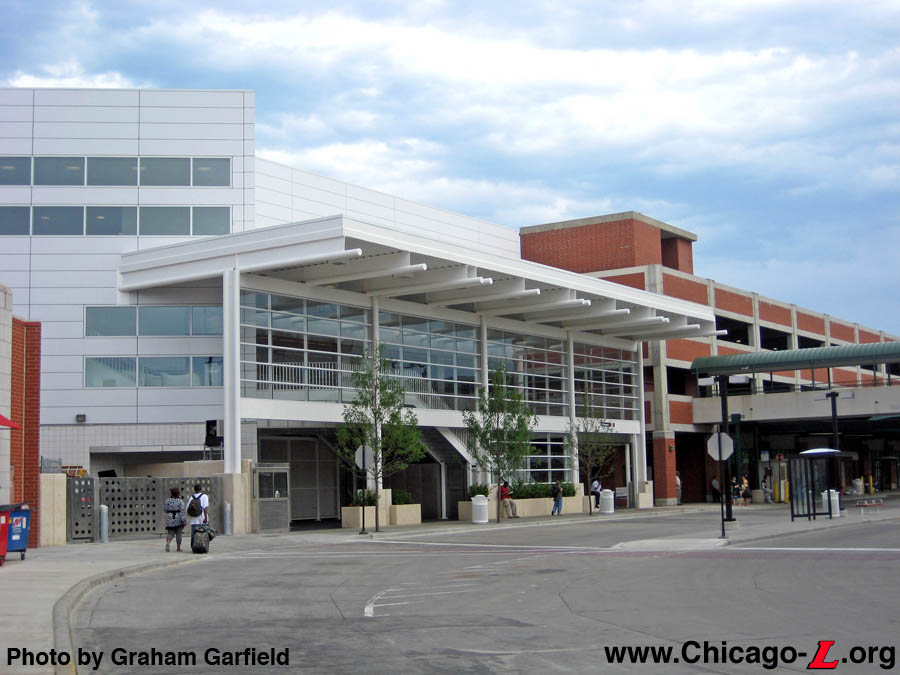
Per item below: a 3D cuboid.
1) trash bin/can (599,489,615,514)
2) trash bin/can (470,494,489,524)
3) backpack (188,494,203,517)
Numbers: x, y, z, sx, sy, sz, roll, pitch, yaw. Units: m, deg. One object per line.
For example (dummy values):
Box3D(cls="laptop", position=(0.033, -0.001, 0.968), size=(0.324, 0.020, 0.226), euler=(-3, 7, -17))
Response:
Box3D(cls="trash bin/can", position=(7.361, 7.620, 54.139), size=(1.067, 1.172, 0.861), euler=(-5, -14, 23))
Box3D(cls="trash bin/can", position=(1.529, 7.010, 47.742), size=(1.293, 1.144, 0.895), euler=(0, -13, -1))
Box3D(cls="backpack", position=(-7.242, 4.793, 33.261), size=(0.447, 0.716, 0.374), euler=(1, -11, -13))
